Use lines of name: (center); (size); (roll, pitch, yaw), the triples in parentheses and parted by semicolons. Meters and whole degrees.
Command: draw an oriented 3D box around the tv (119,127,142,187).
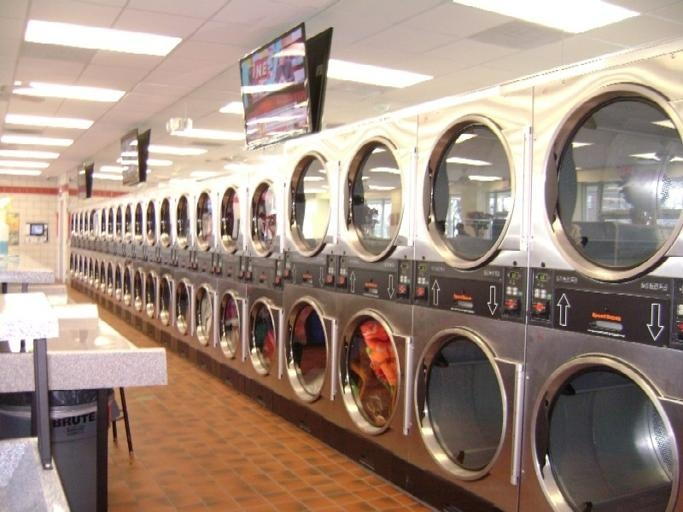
tv: (-3.563, -1.732, 8.499); (0.132, 1.147, 1.009); (3, -6, -26)

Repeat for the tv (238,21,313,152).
tv: (-0.571, -1.544, 4.485); (0.057, 0.948, 1.192); (-5, 3, -32)

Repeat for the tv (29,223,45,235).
tv: (-10.392, -0.914, 17.217); (0.598, 0.596, 0.314); (1, 3, -34)
